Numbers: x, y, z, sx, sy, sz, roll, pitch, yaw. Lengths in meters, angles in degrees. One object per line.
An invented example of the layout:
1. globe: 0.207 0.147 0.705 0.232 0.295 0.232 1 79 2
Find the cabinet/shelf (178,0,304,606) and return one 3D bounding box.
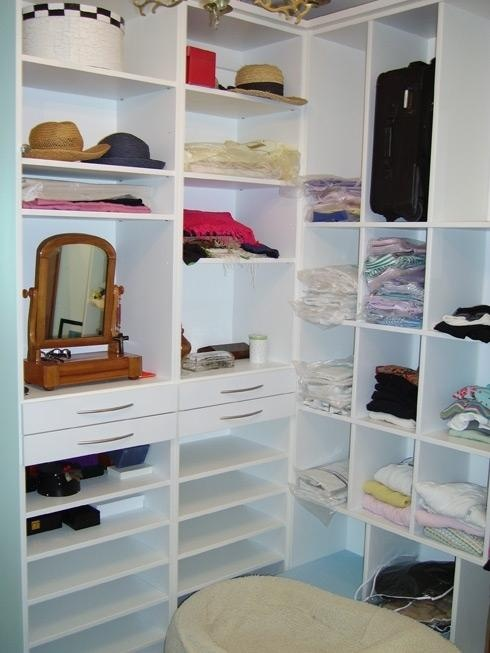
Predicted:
1. cabinet/shelf: -0.089 0.194 2.682 0.684 3.028 0.396 -8 27 -25

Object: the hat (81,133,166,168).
1. hat: -0.429 -0.628 2.051 0.158 0.069 0.194 14 18 35

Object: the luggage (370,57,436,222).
1. luggage: 0.613 -0.718 2.217 0.212 0.571 0.217 2 -8 15

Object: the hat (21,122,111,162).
1. hat: -0.582 -0.598 1.839 0.185 0.068 0.209 13 21 26

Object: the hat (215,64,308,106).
1. hat: 0.092 -0.998 2.410 0.271 0.087 0.230 4 16 -14
